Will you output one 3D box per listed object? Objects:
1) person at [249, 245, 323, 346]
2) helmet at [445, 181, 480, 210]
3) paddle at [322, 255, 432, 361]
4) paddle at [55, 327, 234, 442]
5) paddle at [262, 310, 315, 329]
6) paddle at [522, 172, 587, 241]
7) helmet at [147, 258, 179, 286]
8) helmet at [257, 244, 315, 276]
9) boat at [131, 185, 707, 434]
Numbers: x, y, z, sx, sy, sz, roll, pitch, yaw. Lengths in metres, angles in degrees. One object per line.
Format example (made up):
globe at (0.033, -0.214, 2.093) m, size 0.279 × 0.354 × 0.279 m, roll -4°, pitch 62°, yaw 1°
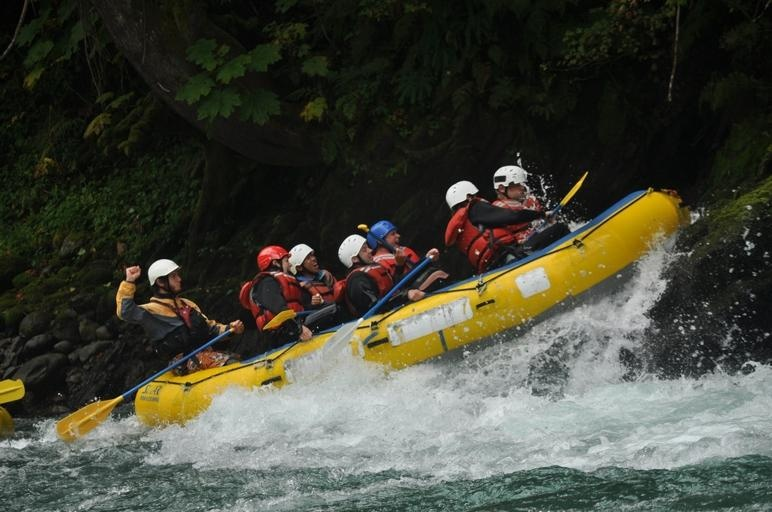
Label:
person at (-1.438, 0.606, 15.032) m, size 0.866 × 1.532 × 1.088 m, roll -31°, pitch -1°, yaw -15°
helmet at (1.098, -0.964, 15.150) m, size 0.464 × 0.368 × 0.351 m, roll -41°, pitch -9°, yaw 26°
paddle at (-0.063, 0.762, 14.534) m, size 2.177 × 0.252 × 0.103 m, roll -42°, pitch 2°, yaw -23°
paddle at (-3.531, 1.964, 15.276) m, size 2.726 × 0.357 × 0.202 m, roll -32°, pitch 0°, yaw -10°
paddle at (-1.397, 0.893, 14.467) m, size 0.265 × 0.102 × 0.993 m, roll -22°, pitch -16°, yaw 10°
paddle at (2.527, -0.729, 15.193) m, size 0.212 × 0.202 × 1.884 m, roll 12°, pitch -35°, yaw -22°
helmet at (-3.316, 0.214, 15.245) m, size 0.439 × 0.264 × 0.338 m, roll -24°, pitch 6°, yaw 3°
helmet at (-1.504, 0.014, 15.275) m, size 0.667 × 0.345 × 0.427 m, roll -34°, pitch -5°, yaw 0°
boat at (-0.076, 1.360, 14.496) m, size 8.324 × 1.509 × 3.056 m, roll -25°, pitch 1°, yaw 15°
